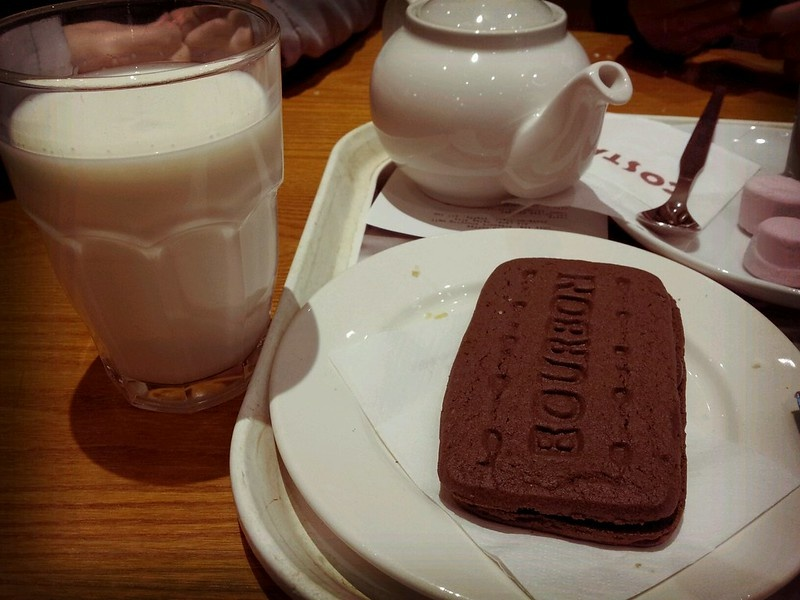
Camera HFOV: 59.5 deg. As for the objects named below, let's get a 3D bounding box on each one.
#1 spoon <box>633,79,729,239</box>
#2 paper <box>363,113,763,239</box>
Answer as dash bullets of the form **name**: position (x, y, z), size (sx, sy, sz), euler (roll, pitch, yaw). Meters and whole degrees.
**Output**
- **spoon**: position (0.430, -0.239, 1.068), size (0.092, 0.056, 0.386), euler (12, 43, 27)
- **paper**: position (0.297, -0.186, 1.110), size (0.387, 0.055, 0.264), euler (17, 49, 17)
